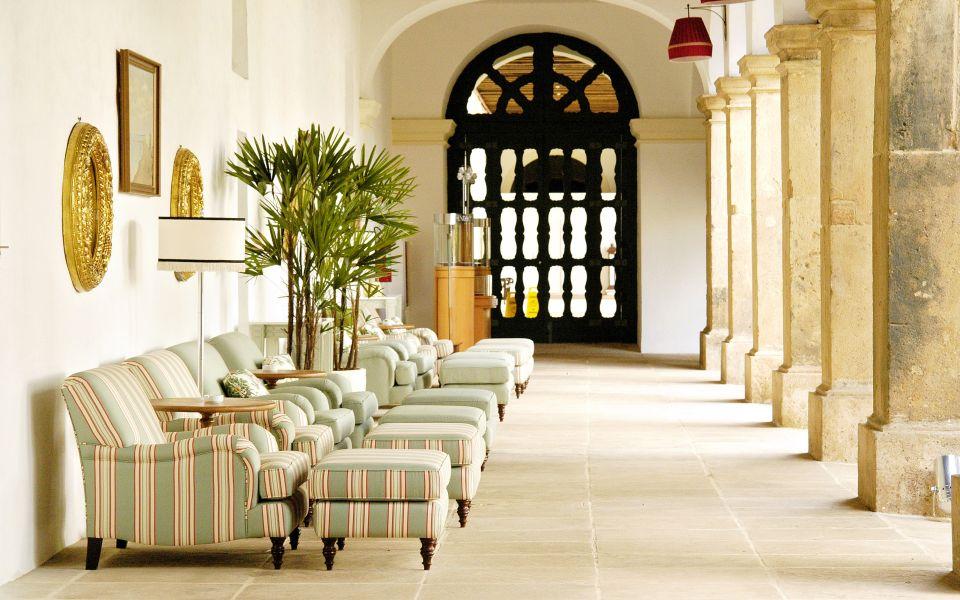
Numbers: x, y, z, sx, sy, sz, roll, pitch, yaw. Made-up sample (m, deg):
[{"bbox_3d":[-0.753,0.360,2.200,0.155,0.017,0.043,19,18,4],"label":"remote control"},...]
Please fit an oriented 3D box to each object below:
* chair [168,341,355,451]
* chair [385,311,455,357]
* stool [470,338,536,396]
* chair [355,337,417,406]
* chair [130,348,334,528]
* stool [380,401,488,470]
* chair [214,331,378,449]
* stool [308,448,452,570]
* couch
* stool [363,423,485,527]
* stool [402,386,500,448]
[{"bbox_3d":[-1.778,0.861,8.537,1.134,1.350,0.969,-1,-2,8],"label":"chair"},{"bbox_3d":[-0.798,0.481,13.809,0.602,0.456,0.652,3,0,4],"label":"chair"},{"bbox_3d":[0.268,0.892,13.263,0.523,0.726,1.153,-20,3,11],"label":"stool"},{"bbox_3d":[-1.010,0.816,11.360,0.592,0.610,0.672,0,2,0],"label":"chair"},{"bbox_3d":[-1.880,1.100,8.131,1.352,1.574,1.306,-1,0,1],"label":"chair"},{"bbox_3d":[-0.294,1.229,8.601,0.631,0.348,0.492,0,-1,9],"label":"stool"},{"bbox_3d":[-1.656,0.836,9.212,1.075,1.006,1.143,1,0,1],"label":"chair"},{"bbox_3d":[-0.683,1.374,6.946,0.785,0.674,0.841,0,-2,-1],"label":"stool"},{"bbox_3d":[-2.007,1.104,7.628,1.624,1.533,1.196,1,-1,-5],"label":"couch"},{"bbox_3d":[-0.298,1.295,7.892,0.753,0.566,0.782,0,-4,6],"label":"stool"},{"bbox_3d":[-0.189,1.151,9.585,0.862,0.586,0.605,0,-4,8],"label":"stool"}]
